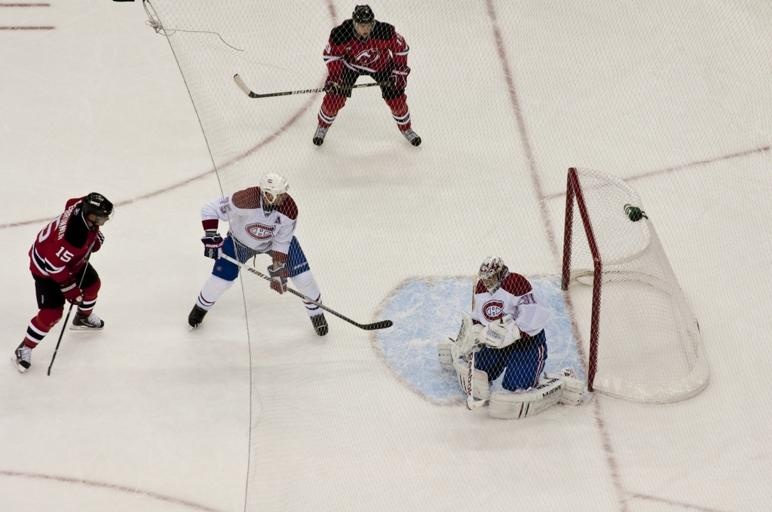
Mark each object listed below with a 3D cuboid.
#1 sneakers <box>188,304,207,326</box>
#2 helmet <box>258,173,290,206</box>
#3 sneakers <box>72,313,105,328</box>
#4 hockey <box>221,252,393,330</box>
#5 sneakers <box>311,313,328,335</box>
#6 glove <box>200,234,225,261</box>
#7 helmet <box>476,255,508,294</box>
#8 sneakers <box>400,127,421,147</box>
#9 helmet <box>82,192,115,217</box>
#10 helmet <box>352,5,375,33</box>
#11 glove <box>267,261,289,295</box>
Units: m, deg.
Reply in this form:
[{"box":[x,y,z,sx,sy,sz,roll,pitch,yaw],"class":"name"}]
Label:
[{"box":[-1.411,0.457,6.732,0.097,0.200,0.083,24,-13,-12],"class":"sneakers"},{"box":[-0.778,-0.484,6.302,0.206,0.211,0.174,7,56,-3],"class":"helmet"},{"box":[-2.222,0.490,6.726,0.256,0.159,0.097,0,55,-14],"class":"sneakers"},{"box":[-0.628,0.287,6.751,0.862,0.101,0.123,32,57,-7],"class":"hockey"},{"box":[-0.492,0.522,6.734,0.097,0.174,0.168,-9,-8,-5],"class":"sneakers"},{"box":[-1.245,-0.078,6.441,0.159,0.192,0.149,4,20,2],"class":"glove"},{"box":[0.739,0.096,6.192,0.179,0.232,0.249,-3,48,24],"class":"helmet"},{"box":[0.222,-1.026,7.849,0.238,0.086,0.093,48,11,8],"class":"sneakers"},{"box":[-1.976,-0.378,6.188,0.141,0.149,0.187,21,20,-25],"class":"helmet"},{"box":[-0.199,-1.916,7.135,0.162,0.210,0.223,-5,56,-6],"class":"helmet"},{"box":[-0.782,0.145,6.515,0.143,0.210,0.203,-6,34,-8],"class":"glove"}]
